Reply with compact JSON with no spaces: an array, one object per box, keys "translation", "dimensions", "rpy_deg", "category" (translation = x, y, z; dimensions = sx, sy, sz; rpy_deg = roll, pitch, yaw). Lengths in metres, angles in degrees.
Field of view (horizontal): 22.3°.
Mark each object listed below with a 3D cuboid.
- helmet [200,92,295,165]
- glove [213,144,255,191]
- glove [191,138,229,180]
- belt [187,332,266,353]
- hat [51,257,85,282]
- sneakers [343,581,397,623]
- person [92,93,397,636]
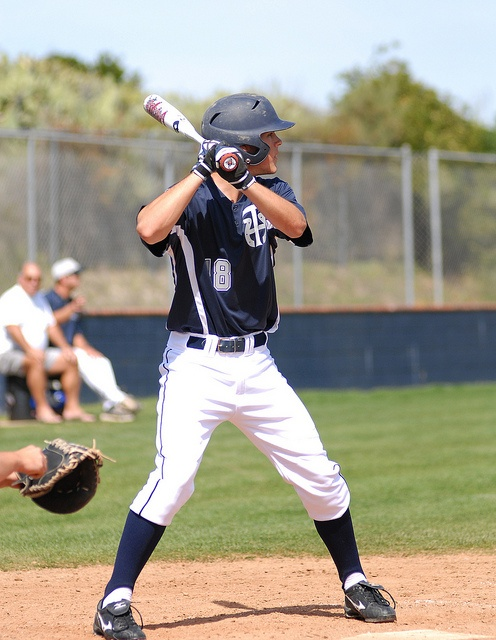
[{"translation":[0.000,-0.756,4.981],"dimensions":[0.331,0.240,0.248],"rpy_deg":[-3,12,6],"category":"helmet"},{"translation":[-0.058,-0.576,4.761],"dimensions":[0.071,0.171,0.126],"rpy_deg":[-35,40,2],"category":"glove"},{"translation":[-0.157,-0.613,4.805],"dimensions":[0.064,0.164,0.097],"rpy_deg":[36,-10,-31],"category":"glove"},{"translation":[-0.070,0.087,4.914],"dimensions":[0.327,0.074,0.085],"rpy_deg":[0,4,-20],"category":"belt"},{"translation":[-1.429,-0.397,9.959],"dimensions":[0.224,0.180,0.158],"rpy_deg":[-26,25,13],"category":"hat"},{"translation":[0.501,1.121,5.016],"dimensions":[0.101,0.128,0.260],"rpy_deg":[4,-12,-29],"category":"sneakers"},{"translation":[-0.042,0.166,4.969],"dimensions":[1.088,2.123,0.371],"rpy_deg":[1,4,-12],"category":"person"}]
